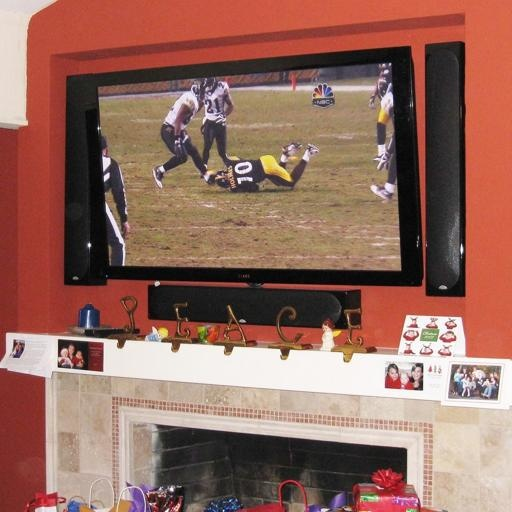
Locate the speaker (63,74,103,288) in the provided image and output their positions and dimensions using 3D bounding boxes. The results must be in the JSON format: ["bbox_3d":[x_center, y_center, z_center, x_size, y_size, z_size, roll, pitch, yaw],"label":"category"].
[{"bbox_3d":[-0.911,-0.401,3.525,0.224,1.103,0.300,0,-4,-14],"label":"speaker"}]

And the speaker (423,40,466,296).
[{"bbox_3d":[0.808,-0.366,2.829,0.171,1.072,0.149,-2,-4,15],"label":"speaker"}]

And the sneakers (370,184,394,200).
[{"bbox_3d":[0.557,-0.281,2.915,0.112,0.052,0.042,33,34,11],"label":"sneakers"}]

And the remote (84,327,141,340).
[{"bbox_3d":[-0.739,0.402,3.455,0.379,0.053,0.180,-3,-5,26],"label":"remote"}]

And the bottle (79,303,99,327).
[{"bbox_3d":[-0.902,0.323,3.608,0.106,0.136,0.107,0,-2,0],"label":"bottle"}]

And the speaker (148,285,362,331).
[{"bbox_3d":[-0.043,0.243,3.241,1.104,0.218,0.148,-3,-4,23],"label":"speaker"}]

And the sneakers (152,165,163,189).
[{"bbox_3d":[-0.484,-0.405,3.344,0.052,0.130,0.040,-7,9,31],"label":"sneakers"}]

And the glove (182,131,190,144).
[{"bbox_3d":[-0.345,-0.585,3.218,0.029,0.036,0.052,2,3,-6],"label":"glove"}]

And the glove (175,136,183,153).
[{"bbox_3d":[-0.383,-0.546,3.242,0.024,0.091,0.022,-7,7,11],"label":"glove"}]
